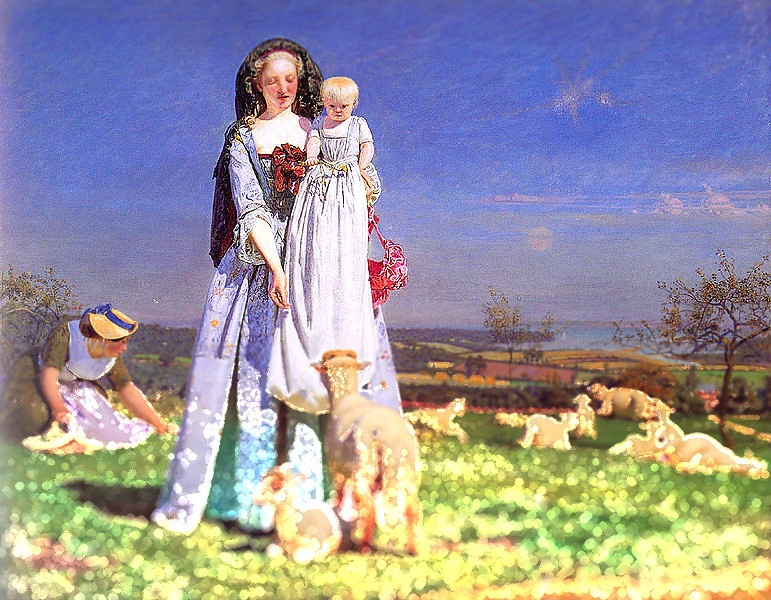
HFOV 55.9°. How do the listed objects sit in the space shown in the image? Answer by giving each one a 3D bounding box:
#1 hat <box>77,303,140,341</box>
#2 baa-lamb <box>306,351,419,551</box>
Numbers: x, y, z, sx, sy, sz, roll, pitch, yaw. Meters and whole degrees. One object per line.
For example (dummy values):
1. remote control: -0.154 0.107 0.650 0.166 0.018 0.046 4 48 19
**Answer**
1. hat: -1.958 0.174 5.046 0.286 0.111 0.292 36 36 8
2. baa-lamb: -0.049 0.860 4.090 0.423 1.326 0.849 -10 15 11
